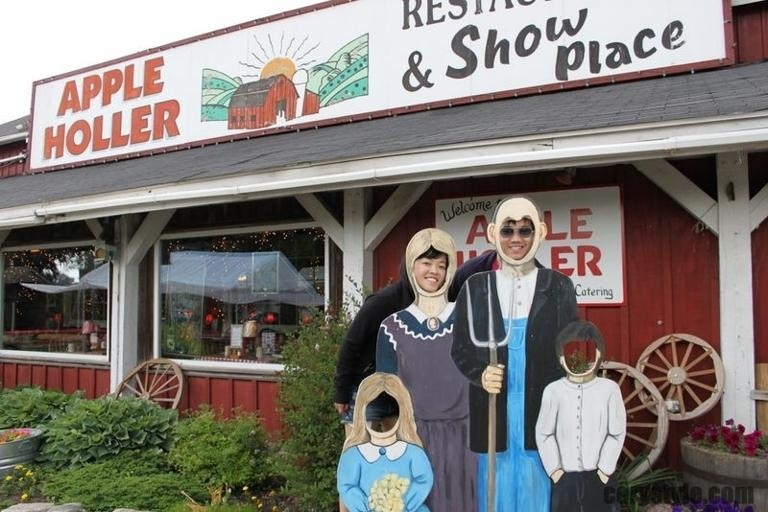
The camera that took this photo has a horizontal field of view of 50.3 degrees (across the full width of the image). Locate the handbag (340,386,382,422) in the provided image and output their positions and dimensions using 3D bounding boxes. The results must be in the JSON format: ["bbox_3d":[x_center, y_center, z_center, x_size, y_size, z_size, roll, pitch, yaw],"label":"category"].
[{"bbox_3d":[-0.213,1.460,8.039,0.293,0.387,0.214,10,-29,3],"label":"handbag"}]
